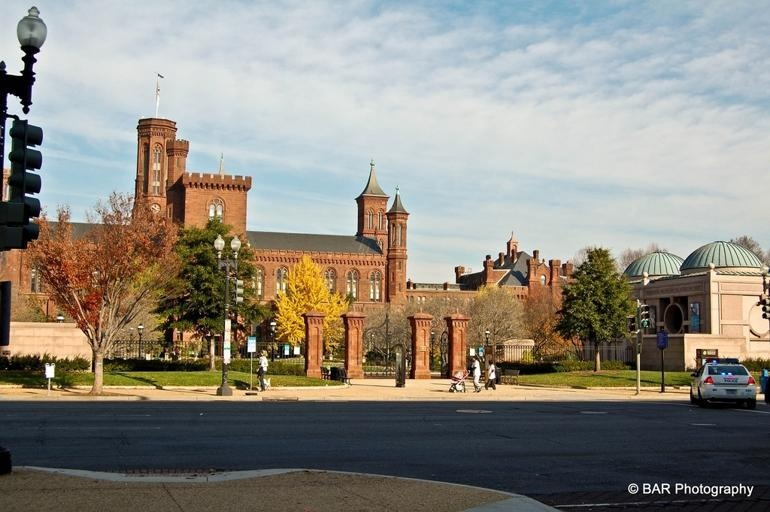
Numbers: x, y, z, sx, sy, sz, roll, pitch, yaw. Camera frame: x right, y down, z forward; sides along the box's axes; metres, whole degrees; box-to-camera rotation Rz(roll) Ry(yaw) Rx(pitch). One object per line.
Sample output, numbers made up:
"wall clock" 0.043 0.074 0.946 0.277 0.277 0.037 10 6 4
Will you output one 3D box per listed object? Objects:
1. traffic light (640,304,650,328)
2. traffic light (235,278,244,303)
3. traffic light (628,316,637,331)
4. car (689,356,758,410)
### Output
"traffic light" 13.346 3.060 62.088 0.413 1.206 1.494 0 -8 10
"traffic light" -6.775 1.612 55.844 0.249 1.041 0.815 4 -8 -18
"traffic light" 12.839 3.479 62.253 0.436 0.842 1.390 -1 -8 15
"car" 14.746 5.602 52.603 2.651 1.994 1.819 -3 -9 30
